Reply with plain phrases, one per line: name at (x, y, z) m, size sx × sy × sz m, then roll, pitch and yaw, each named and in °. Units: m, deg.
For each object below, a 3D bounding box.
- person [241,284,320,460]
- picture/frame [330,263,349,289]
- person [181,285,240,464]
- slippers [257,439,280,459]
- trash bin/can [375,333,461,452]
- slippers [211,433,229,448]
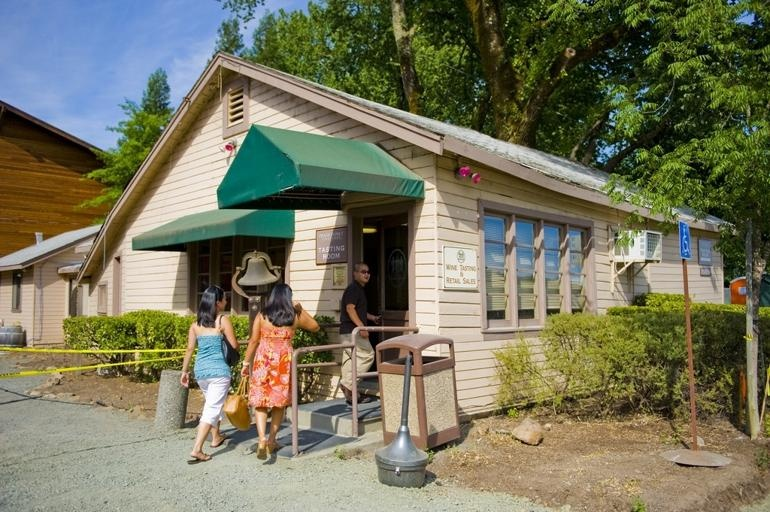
person at (-1.731, 1.773, 9.776) m, size 0.991 × 2.610 × 0.919 m, roll -2°, pitch 7°, yaw -19°
picture/frame at (-0.933, 0.409, 12.839) m, size 0.466 × 0.555 × 0.074 m, roll -6°, pitch -11°, yaw 40°
person at (-2.802, 1.824, 9.910) m, size 0.854 × 2.679 × 0.953 m, roll -2°, pitch 7°, yaw -19°
slippers at (-1.843, 2.981, 9.643) m, size 0.161 × 0.219 × 0.465 m, roll -1°, pitch 0°, yaw 22°
trash bin/can at (0.538, 2.218, 10.087) m, size 1.365 × 1.908 × 0.946 m, roll 0°, pitch 7°, yaw -2°
slippers at (-2.731, 3.030, 10.266) m, size 0.098 × 0.127 × 0.299 m, roll 4°, pitch 8°, yaw 29°
